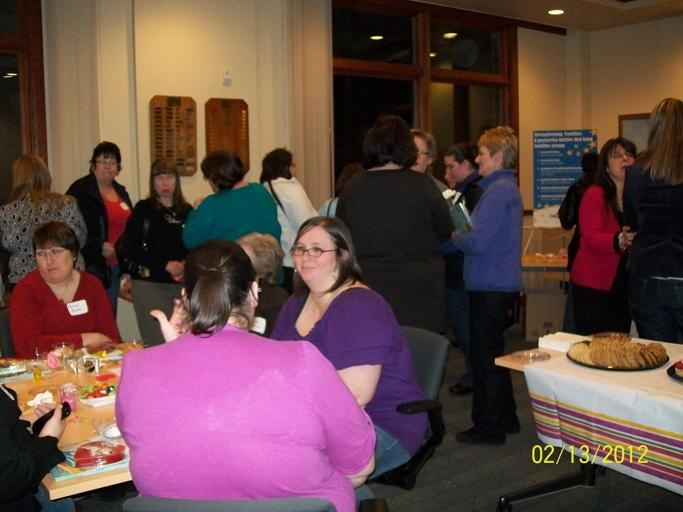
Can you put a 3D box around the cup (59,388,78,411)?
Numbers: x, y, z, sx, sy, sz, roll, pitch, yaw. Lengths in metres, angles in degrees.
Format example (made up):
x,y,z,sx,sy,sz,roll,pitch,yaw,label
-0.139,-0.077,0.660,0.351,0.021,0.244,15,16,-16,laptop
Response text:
x,y,z,sx,sy,sz,roll,pitch,yaw,label
-1.046,0.545,2.194,0.075,0.091,0.081,-2,-4,0,cup

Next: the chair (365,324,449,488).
x,y,z,sx,sy,sz,roll,pitch,yaw,label
0.306,0.644,2.370,0.240,0.605,0.473,2,9,18,chair

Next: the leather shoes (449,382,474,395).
x,y,z,sx,sy,sz,roll,pitch,yaw,label
0.909,1.006,4.344,0.152,0.068,0.081,3,5,-8,leather shoes

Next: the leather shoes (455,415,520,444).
x,y,z,sx,sy,sz,roll,pitch,yaw,label
0.874,1.068,3.561,0.433,0.196,0.154,3,7,3,leather shoes

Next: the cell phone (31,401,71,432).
x,y,z,sx,sy,sz,roll,pitch,yaw,label
-0.984,0.536,1.962,0.140,0.073,0.037,-38,0,-12,cell phone

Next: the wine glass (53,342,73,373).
x,y,z,sx,sy,sz,roll,pitch,yaw,label
-1.257,0.457,2.595,0.088,0.110,0.093,1,-3,-4,wine glass

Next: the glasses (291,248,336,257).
x,y,z,sx,sy,sz,roll,pitch,yaw,label
-0.120,-0.020,2.194,0.187,0.038,0.063,3,9,25,glasses
